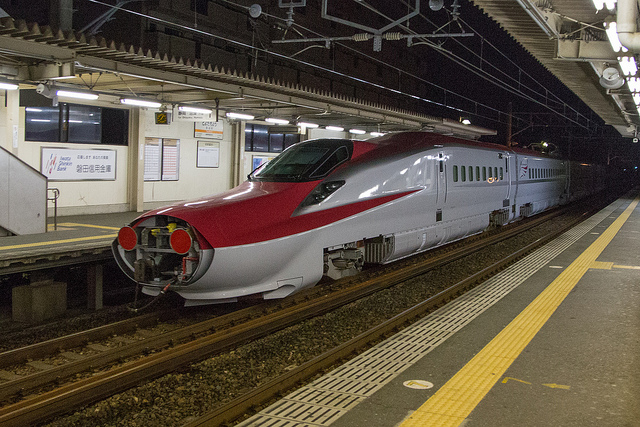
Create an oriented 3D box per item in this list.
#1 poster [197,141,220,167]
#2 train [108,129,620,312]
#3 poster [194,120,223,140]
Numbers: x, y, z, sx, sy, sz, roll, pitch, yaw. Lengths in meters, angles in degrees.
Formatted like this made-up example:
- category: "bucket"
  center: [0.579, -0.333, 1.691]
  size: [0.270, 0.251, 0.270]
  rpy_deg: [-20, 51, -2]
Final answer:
- category: "poster"
  center: [-4.685, -2.452, 18.192]
  size: [0.165, 1.056, 1.456]
  rpy_deg: [7, 8, 24]
- category: "train"
  center: [7.238, -0.485, 19.110]
  size: [4.535, 3.645, 31.500]
  rpy_deg: [0, 1, 42]
- category: "poster"
  center: [-4.421, -3.462, 17.840]
  size: [0.833, 0.788, 1.481]
  rpy_deg: [-1, 5, 24]
